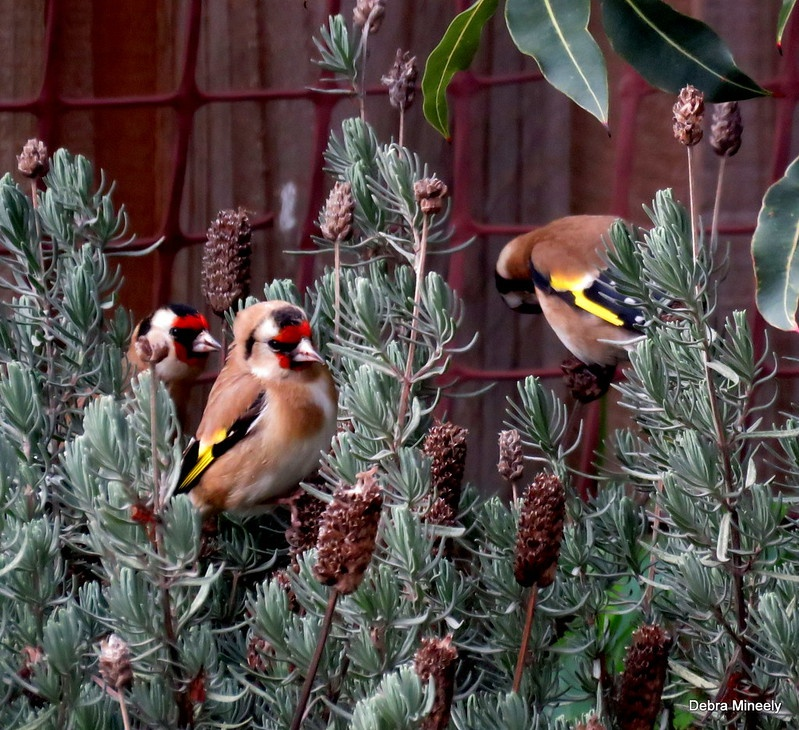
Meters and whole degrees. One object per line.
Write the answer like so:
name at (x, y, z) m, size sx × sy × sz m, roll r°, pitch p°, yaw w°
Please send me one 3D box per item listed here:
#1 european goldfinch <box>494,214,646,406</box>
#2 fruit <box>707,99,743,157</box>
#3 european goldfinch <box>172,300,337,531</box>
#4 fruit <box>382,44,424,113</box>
european goldfinch at (0.345, -0.092, 2.483) m, size 0.359 × 0.320 × 0.182 m, roll -6°, pitch 6°, yaw 15°
fruit at (0.372, -0.264, 1.679) m, size 0.033 × 0.066 × 0.125 m, roll 4°, pitch 5°, yaw 12°
european goldfinch at (-0.198, 0.066, 1.839) m, size 0.236 × 0.262 × 0.155 m, roll -2°, pitch 1°, yaw 29°
fruit at (0.003, -0.331, 1.732) m, size 0.041 × 0.075 × 0.031 m, roll -2°, pitch 7°, yaw -9°
